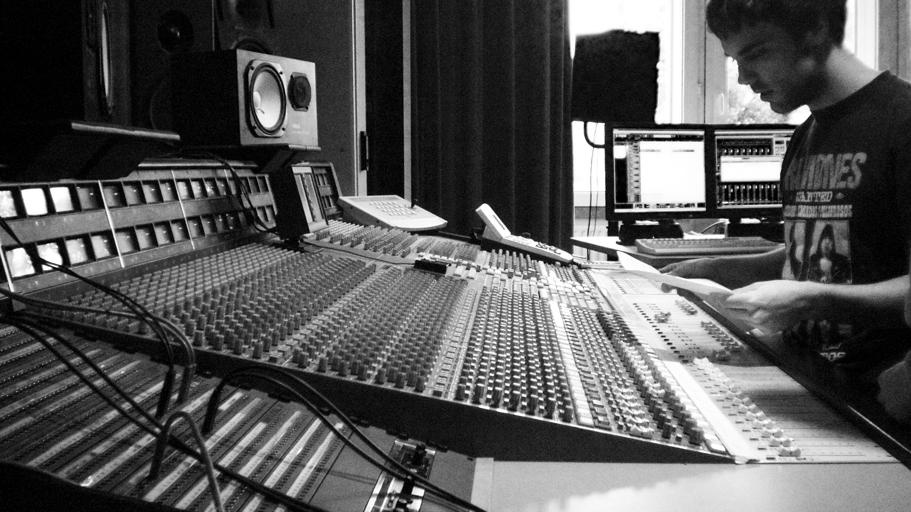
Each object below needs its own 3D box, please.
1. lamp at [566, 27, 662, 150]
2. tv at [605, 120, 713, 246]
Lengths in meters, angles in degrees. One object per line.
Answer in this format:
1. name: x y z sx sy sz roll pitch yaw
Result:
1. lamp: 0.926 -0.921 3.639 0.518 0.660 0.174 4 4 13
2. tv: 1.046 -0.391 3.237 0.718 0.663 0.247 0 0 -3
